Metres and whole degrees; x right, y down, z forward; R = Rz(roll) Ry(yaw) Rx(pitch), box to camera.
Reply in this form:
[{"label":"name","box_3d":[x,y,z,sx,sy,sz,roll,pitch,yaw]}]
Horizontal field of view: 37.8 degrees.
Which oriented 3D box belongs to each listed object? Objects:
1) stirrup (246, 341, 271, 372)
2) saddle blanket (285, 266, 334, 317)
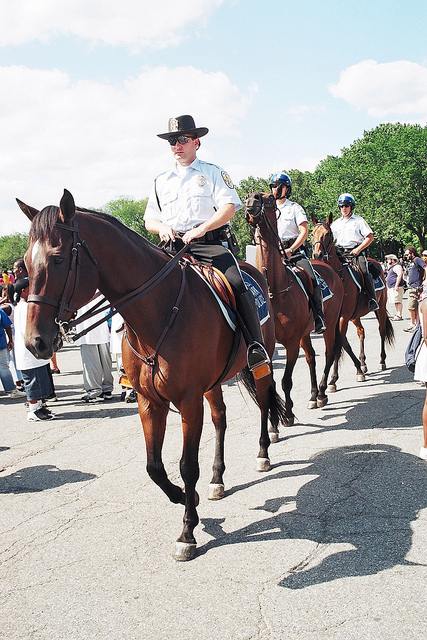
[{"label":"stirrup","box_3d":[0.354,0.274,4.945,0.188,0.211,0.064,-14,31,23]},{"label":"saddle blanket","box_3d":[1.332,-0.495,8.133,0.460,0.756,0.372,7,55,36]}]
